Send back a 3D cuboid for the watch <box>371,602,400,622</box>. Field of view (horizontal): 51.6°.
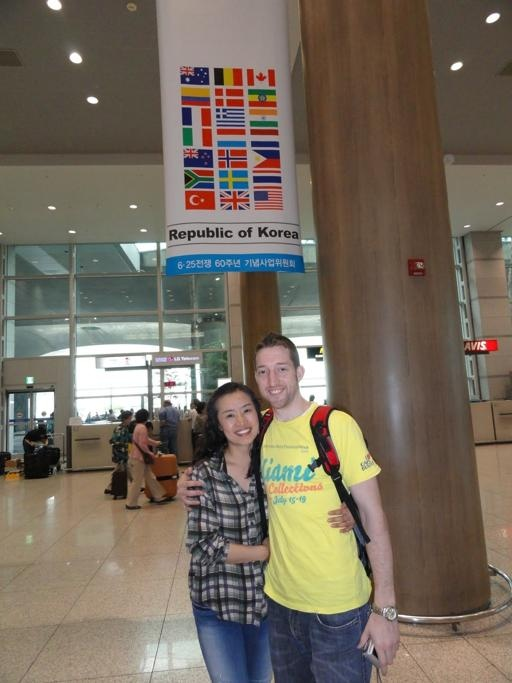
[{"bbox_3d":[0.331,0.695,1.352,0.058,0.038,0.058,-9,-30,44],"label":"watch"}]

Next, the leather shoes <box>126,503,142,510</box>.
[{"bbox_3d":[-1.650,2.253,7.195,0.139,0.050,0.080,4,-2,-6],"label":"leather shoes"}]

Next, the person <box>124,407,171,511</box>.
[{"bbox_3d":[-1.583,1.649,7.502,0.505,1.357,0.662,-4,-7,1],"label":"person"}]

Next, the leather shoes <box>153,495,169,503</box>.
[{"bbox_3d":[-1.356,2.269,7.601,0.181,0.128,0.061,-19,19,-9],"label":"leather shoes"}]

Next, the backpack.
[{"bbox_3d":[0.147,0.424,1.549,0.339,0.511,0.220,-8,-12,22],"label":"backpack"}]

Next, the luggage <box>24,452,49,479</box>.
[{"bbox_3d":[-4.684,2.732,11.650,0.511,0.714,0.566,2,-13,-8],"label":"luggage"}]

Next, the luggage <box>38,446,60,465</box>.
[{"bbox_3d":[-4.525,2.462,11.664,0.324,0.448,0.423,1,-2,11],"label":"luggage"}]
